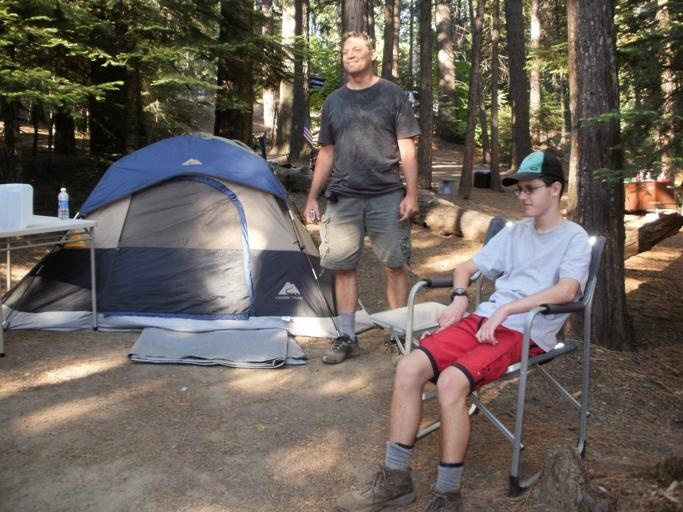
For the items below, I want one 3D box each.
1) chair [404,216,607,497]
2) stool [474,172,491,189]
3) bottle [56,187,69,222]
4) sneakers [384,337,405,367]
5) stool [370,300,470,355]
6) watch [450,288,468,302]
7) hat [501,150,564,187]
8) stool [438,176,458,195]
[{"bbox_3d":[0.929,0.589,4.700,1.607,2.115,1.488,-5,7,-42],"label":"chair"},{"bbox_3d":[3.974,-2.150,16.790,0.470,0.424,0.463,2,9,20],"label":"stool"},{"bbox_3d":[-2.659,-0.505,5.740,0.092,0.299,0.221,-7,9,-25],"label":"bottle"},{"bbox_3d":[0.463,0.821,5.201,0.191,0.178,0.271,5,44,-6],"label":"sneakers"},{"bbox_3d":[0.547,0.523,4.855,0.430,0.202,0.600,5,11,44],"label":"stool"},{"bbox_3d":[0.779,0.245,3.954,0.083,0.053,0.091,3,-30,12],"label":"watch"},{"bbox_3d":[1.268,-0.565,3.892,0.400,0.194,0.237,1,4,-4],"label":"hat"},{"bbox_3d":[2.659,-1.750,14.926,0.456,0.414,0.444,4,20,10],"label":"stool"}]
